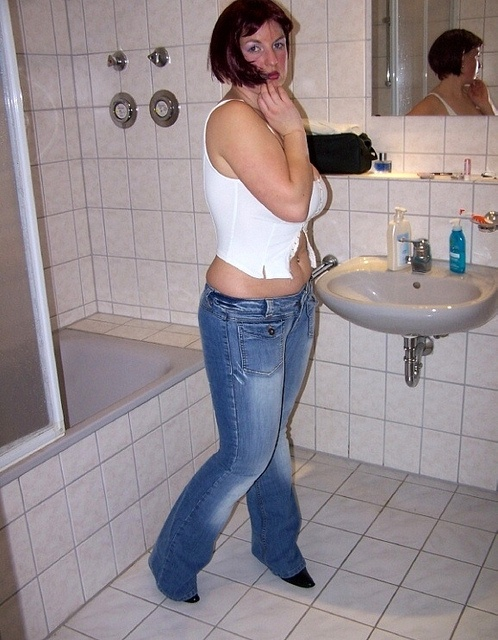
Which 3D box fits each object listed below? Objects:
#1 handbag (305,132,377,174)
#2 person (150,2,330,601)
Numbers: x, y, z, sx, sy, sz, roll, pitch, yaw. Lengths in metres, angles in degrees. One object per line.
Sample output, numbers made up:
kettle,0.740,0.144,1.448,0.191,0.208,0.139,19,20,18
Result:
handbag,0.285,-0.519,1.730,0.239,0.113,0.150,11,33,30
person,0.003,0.064,1.214,0.469,1.347,0.331,8,16,42
